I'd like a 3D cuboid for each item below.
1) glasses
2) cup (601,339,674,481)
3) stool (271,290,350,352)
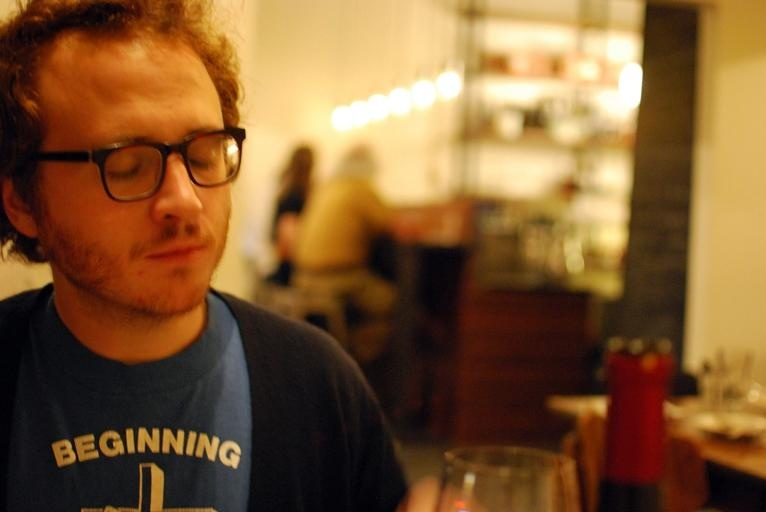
[{"bbox_3d":[-0.396,-0.164,1.278,0.347,0.132,0.155,-1,9,-20],"label":"glasses"},{"bbox_3d":[0.338,0.208,0.980,0.081,0.175,0.066,2,9,0],"label":"cup"},{"bbox_3d":[-0.132,0.125,1.446,0.136,0.134,0.107,-1,-2,-14],"label":"stool"}]
